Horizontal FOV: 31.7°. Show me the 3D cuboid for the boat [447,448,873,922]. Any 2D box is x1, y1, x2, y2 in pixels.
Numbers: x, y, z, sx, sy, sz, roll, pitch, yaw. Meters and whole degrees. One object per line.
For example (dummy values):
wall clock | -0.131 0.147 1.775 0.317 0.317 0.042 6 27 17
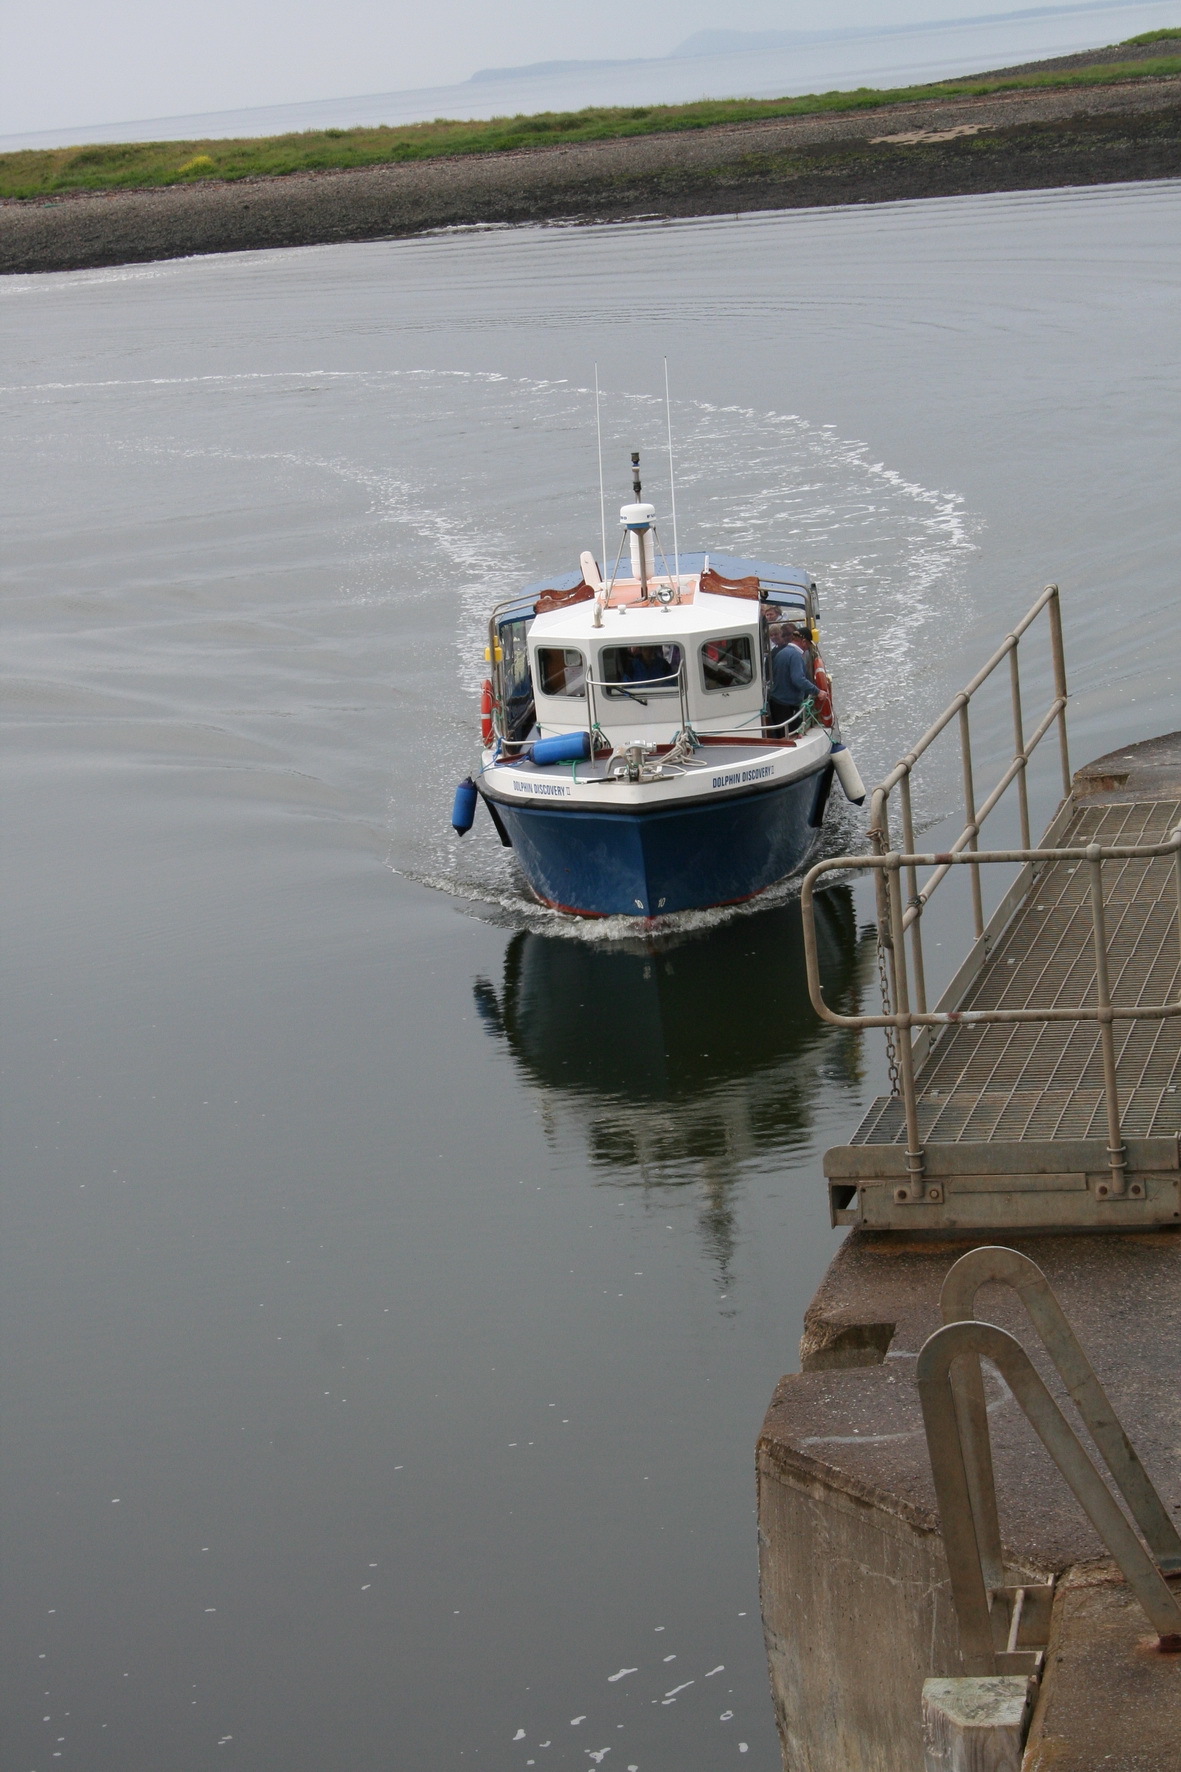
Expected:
boat | 0.320 -1.011 14.693 2.322 2.315 4.147 -2 19 7
